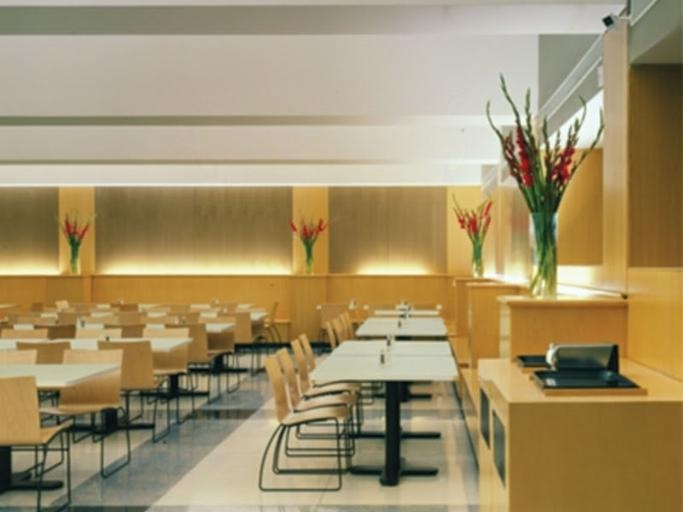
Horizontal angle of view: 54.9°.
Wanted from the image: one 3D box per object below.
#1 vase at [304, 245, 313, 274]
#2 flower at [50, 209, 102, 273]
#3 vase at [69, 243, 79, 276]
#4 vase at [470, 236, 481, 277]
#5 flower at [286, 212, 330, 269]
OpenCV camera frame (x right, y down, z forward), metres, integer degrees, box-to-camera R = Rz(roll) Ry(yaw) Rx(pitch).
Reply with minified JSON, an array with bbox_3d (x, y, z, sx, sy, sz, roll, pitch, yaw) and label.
[{"bbox_3d":[-0.614,0.044,12.547,0.180,0.576,0.286,-1,4,-4],"label":"vase"},{"bbox_3d":[-5.314,-0.251,13.082,0.648,1.191,0.680,-1,4,-10],"label":"flower"},{"bbox_3d":[-5.273,0.052,13.024,0.188,0.587,0.458,-2,4,-23],"label":"vase"},{"bbox_3d":[2.039,0.020,9.838,0.148,0.572,0.106,-1,4,-3],"label":"vase"},{"bbox_3d":[-0.607,-0.213,12.613,0.671,1.045,0.495,-1,4,-3],"label":"flower"}]
